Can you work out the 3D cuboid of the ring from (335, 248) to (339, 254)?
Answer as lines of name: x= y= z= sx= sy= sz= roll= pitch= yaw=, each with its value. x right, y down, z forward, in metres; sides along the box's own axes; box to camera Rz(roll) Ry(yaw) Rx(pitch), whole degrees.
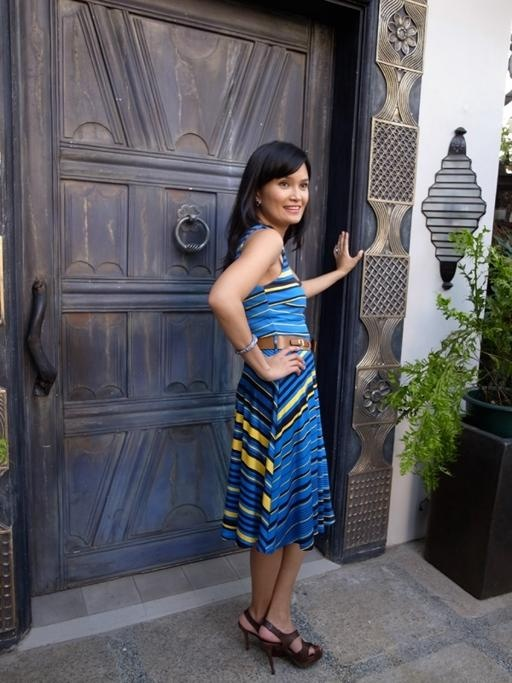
ring: x=0.299 y=-0.330 z=1.974 sx=0.012 sy=0.018 sz=0.005 roll=0 pitch=1 yaw=22

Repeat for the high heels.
high heels: x=0.087 y=0.909 z=1.648 sx=0.334 sy=0.156 sz=0.116 roll=3 pitch=-1 yaw=5

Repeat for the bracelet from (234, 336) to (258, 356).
bracelet: x=-0.021 y=0.015 z=1.383 sx=0.020 sy=0.053 sz=0.046 roll=32 pitch=-7 yaw=-19

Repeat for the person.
person: x=0.073 y=0.215 z=1.632 sx=0.366 sy=1.557 sz=0.694 roll=4 pitch=7 yaw=9
